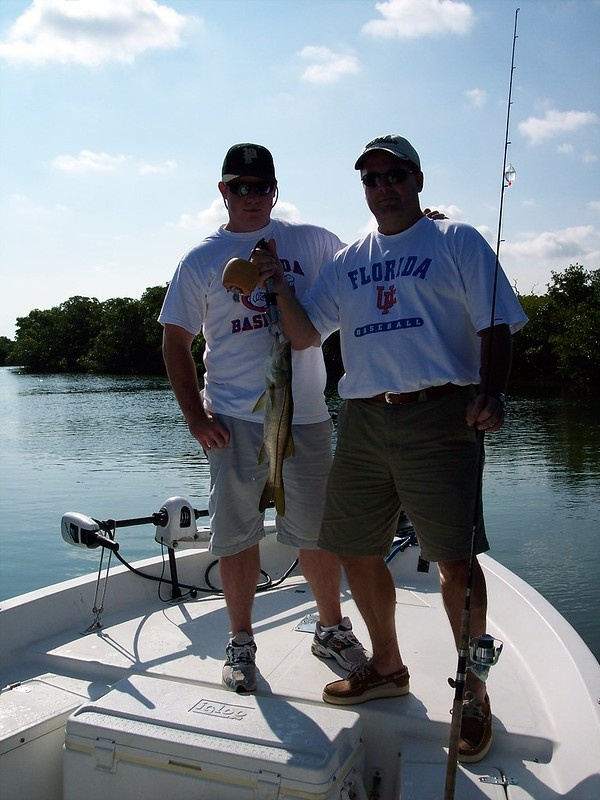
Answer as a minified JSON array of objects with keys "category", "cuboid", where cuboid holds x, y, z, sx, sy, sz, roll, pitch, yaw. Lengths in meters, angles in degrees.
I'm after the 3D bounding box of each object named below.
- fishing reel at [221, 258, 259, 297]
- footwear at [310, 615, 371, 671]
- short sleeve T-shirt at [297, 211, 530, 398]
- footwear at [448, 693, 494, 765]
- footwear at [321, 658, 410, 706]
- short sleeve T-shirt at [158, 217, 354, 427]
[{"category":"fishing reel","cuboid":[-0.217,-0.461,2.517,0.150,0.132,0.147,1,-15,16]},{"category":"footwear","cuboid":[0.187,1.019,2.781,0.134,0.170,0.359,3,-4,-33]},{"category":"short sleeve T-shirt","cuboid":[0.381,-0.320,2.380,0.770,0.562,0.301,-9,-4,32]},{"category":"footwear","cuboid":[0.563,1.052,2.156,0.108,0.115,0.312,-5,-2,17]},{"category":"footwear","cuboid":[0.254,1.041,2.461,0.333,0.131,0.116,1,-22,-12]},{"category":"short sleeve T-shirt","cuboid":[-0.169,-0.311,2.734,0.939,0.763,0.323,-4,4,-16]}]
